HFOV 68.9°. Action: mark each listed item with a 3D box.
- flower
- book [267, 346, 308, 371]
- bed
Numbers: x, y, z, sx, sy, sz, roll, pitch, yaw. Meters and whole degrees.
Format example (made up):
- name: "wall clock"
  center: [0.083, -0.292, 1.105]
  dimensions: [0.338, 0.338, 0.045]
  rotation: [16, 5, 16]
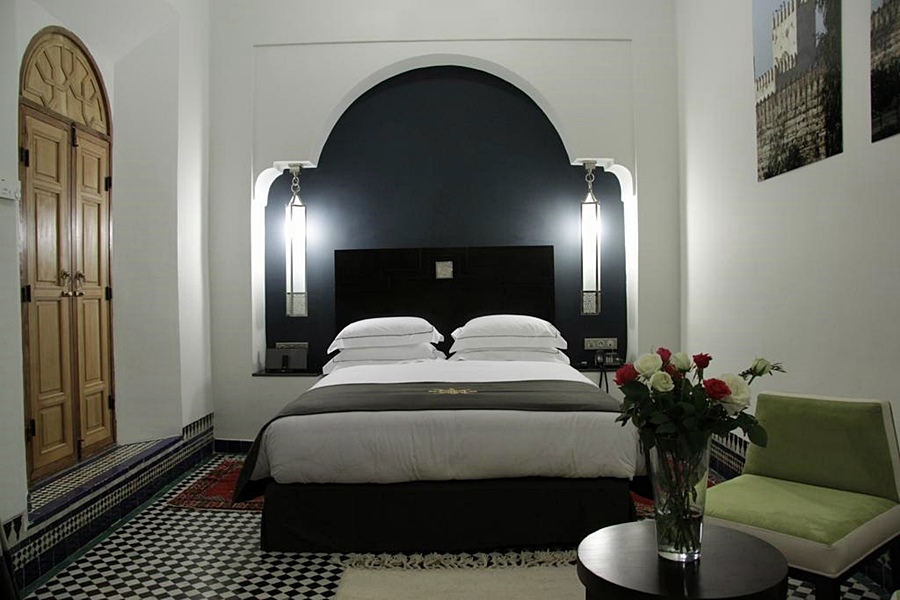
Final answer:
- name: "flower"
  center: [1.141, 0.775, 3.241]
  dimensions: [0.658, 0.952, 0.642]
  rotation: [13, -10, -32]
- name: "book"
  center: [-1.520, 0.555, 5.999]
  dimensions: [0.325, 0.170, 0.207]
  rotation: [-1, -7, 1]
- name: "bed"
  center: [-0.066, 0.576, 5.269]
  dimensions: [2.682, 1.741, 2.403]
  rotation: [0, 11, 1]
